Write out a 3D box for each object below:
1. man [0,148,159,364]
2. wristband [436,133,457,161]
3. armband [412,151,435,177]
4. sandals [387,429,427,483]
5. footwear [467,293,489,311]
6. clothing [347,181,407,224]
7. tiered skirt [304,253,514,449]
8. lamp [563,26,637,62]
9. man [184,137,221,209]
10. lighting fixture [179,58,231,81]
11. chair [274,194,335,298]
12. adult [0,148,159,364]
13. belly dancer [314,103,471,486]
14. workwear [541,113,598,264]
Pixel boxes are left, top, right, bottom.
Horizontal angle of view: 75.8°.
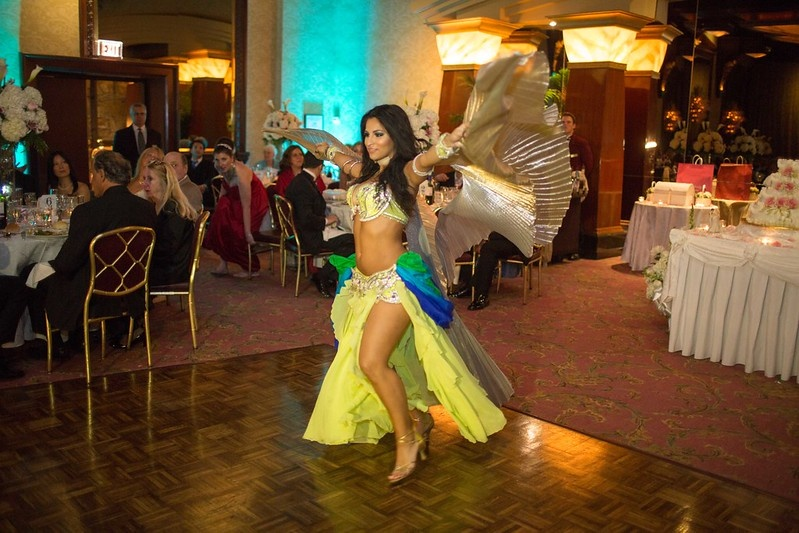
[{"bbox_3d":[-2.434,-0.081,3.932,0.976,1.540,0.580,3,15,5],"label":"man"},{"bbox_3d":[0.220,-0.570,2.525,0.114,0.112,0.112,-14,-13,13],"label":"wristband"},{"bbox_3d":[0.124,-0.543,2.766,0.109,0.117,0.178,2,14,1],"label":"armband"},{"bbox_3d":[0.046,1.035,2.874,0.128,0.161,0.400,-20,0,30],"label":"sandals"},{"bbox_3d":[0.905,0.401,5.848,0.114,0.126,0.329,-1,-2,35],"label":"footwear"},{"bbox_3d":[-0.116,-0.294,2.863,0.275,0.144,0.272,18,14,-35],"label":"clothing"},{"bbox_3d":[0.060,0.577,3.319,1.131,1.017,0.710,-13,-6,5],"label":"tiered skirt"},{"bbox_3d":[3.297,-3.615,8.602,0.942,0.390,0.677,14,29,32],"label":"lamp"},{"bbox_3d":[-3.351,-1.403,8.636,0.573,1.310,0.477,-4,36,-14],"label":"man"},{"bbox_3d":[-3.424,-3.493,9.087,0.517,0.228,0.632,7,12,29],"label":"lighting fixture"},{"bbox_3d":[-1.173,-0.301,6.401,0.679,1.067,0.639,0,12,-35],"label":"chair"},{"bbox_3d":[-2.433,-0.080,3.927,0.983,1.540,0.570,3,15,3],"label":"adult"},{"bbox_3d":[-0.032,0.103,2.991,0.476,1.982,0.945,-1,15,-12],"label":"belly dancer"},{"bbox_3d":[2.768,-1.243,8.238,0.525,2.284,1.290,7,16,18],"label":"workwear"}]
